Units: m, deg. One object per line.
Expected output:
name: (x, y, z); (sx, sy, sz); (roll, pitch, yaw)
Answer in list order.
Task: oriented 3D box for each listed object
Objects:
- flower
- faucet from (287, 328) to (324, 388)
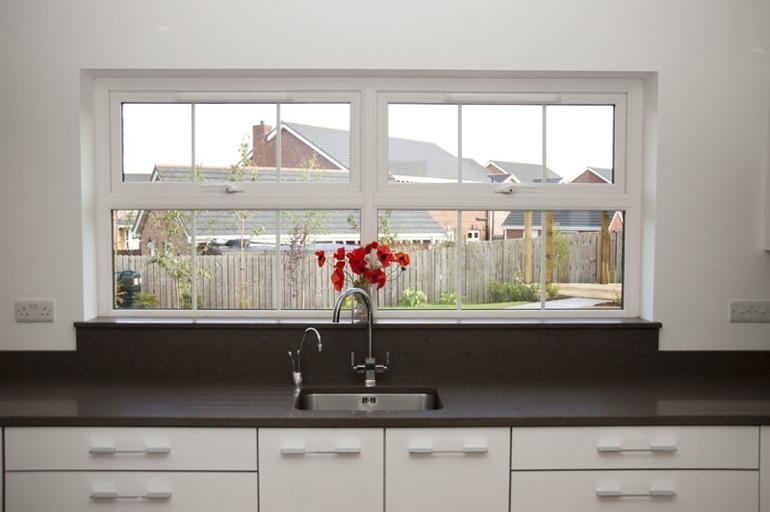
flower: (-0.099, 0.056, 5.821); (0.476, 0.273, 0.272); (-4, 0, -10)
faucet: (-0.445, 0.560, 5.662); (0.200, 0.321, 0.169); (-2, 4, -6)
